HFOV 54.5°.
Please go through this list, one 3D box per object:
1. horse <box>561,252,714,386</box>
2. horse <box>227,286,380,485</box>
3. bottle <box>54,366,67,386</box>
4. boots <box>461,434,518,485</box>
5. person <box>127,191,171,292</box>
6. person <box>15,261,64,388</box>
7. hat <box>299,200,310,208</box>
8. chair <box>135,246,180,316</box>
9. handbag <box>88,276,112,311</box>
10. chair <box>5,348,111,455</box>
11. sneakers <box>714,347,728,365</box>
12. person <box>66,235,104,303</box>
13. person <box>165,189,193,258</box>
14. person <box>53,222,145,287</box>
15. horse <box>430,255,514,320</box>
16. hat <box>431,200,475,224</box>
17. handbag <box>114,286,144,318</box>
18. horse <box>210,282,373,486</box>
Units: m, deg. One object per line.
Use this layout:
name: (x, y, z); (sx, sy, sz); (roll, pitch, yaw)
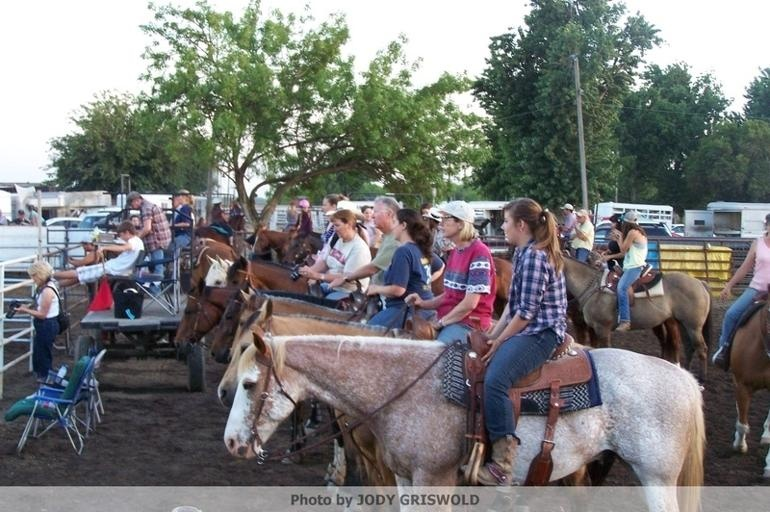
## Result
horse: (4.941, 1.208, 15.576); (4.055, 2.912, 1.027); (1, 19, 1)
horse: (-0.777, 1.537, 10.401); (3.084, 2.015, 0.698); (-10, 17, -37)
bottle: (-5.551, 2.036, 12.686); (0.208, 0.311, 0.315); (9, -16, -13)
boots: (1.399, 2.474, 9.051); (0.308, 0.609, 0.600); (19, -21, -39)
person: (-5.436, -0.249, 17.231); (1.066, 2.502, 0.812); (-4, 6, -1)
person: (-6.764, 1.426, 14.565); (0.882, 2.597, 0.793); (4, 12, -16)
hat: (-2.146, -1.377, 20.258); (0.275, 0.205, 0.144); (18, -39, -23)
chair: (-4.767, 0.514, 15.657); (1.219, 1.517, 1.164); (-2, 7, -38)
handbag: (-5.525, 0.744, 14.546); (0.442, 0.669, 0.434); (-5, 14, -21)
chair: (-5.895, 2.576, 12.925); (1.786, 1.762, 1.317); (3, -4, -9)
sneakers: (5.710, 1.713, 12.708); (0.195, 0.385, 0.192); (7, 15, 26)
person: (-6.652, 0.289, 16.469); (0.788, 1.513, 0.543); (-1, 15, -21)
person: (-5.867, -0.611, 21.393); (0.795, 2.519, 0.813); (5, -9, -35)
person: (-5.600, 0.108, 15.208); (1.910, 1.171, 0.929); (-13, 24, -23)
horse: (1.648, 0.586, 14.842); (1.838, 1.314, 0.448); (8, -11, -21)
hat: (0.975, -0.609, 10.116); (0.450, 0.200, 0.331); (10, 2, 5)
handbag: (-4.922, 0.888, 14.420); (0.527, 0.544, 0.544); (0, 3, -18)
horse: (-1.105, 1.036, 11.021); (0.901, 2.643, 3.915); (15, 31, 25)
